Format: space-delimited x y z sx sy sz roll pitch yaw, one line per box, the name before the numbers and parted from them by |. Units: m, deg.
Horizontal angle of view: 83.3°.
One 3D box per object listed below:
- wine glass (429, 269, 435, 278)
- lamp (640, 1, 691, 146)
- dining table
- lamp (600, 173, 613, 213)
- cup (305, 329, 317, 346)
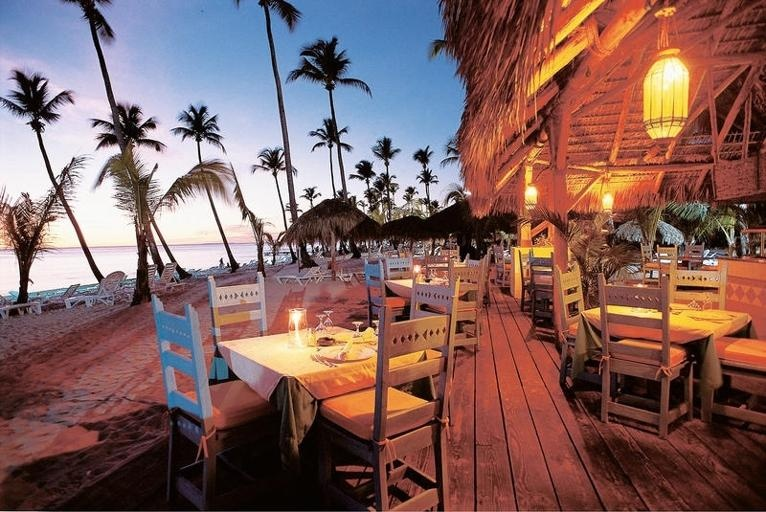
wine glass | 1.114 0.403 9.773 0.145 0.280 0.151 -1 -3 3
lamp | 3.998 -2.530 6.041 0.611 1.898 0.423 -7 5 -30
dining table | -0.835 1.640 5.246 1.567 0.818 1.580 -1 9 -37
lamp | 6.751 -1.851 12.966 0.345 1.148 2.494 -3 4 29
cup | -0.913 1.048 5.477 0.151 0.278 0.157 2 -3 0
